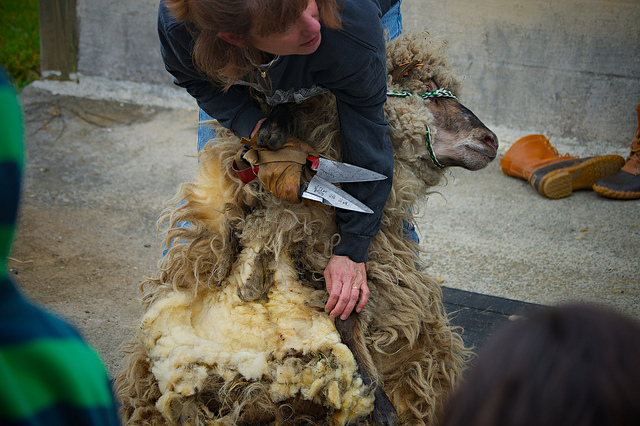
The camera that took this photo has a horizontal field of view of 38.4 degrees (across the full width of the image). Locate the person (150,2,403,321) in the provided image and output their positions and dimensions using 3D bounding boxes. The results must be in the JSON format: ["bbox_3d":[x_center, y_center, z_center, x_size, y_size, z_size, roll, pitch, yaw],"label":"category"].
[{"bbox_3d":[-0.140,-0.621,5.848,1.193,2.119,0.895,5,20,1],"label":"person"}]

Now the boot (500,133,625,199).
[{"bbox_3d":[1.739,-0.356,6.871,0.975,0.375,0.495,4,38,23],"label":"boot"}]

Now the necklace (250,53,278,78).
[{"bbox_3d":[-0.327,-0.883,5.385,0.120,0.158,0.025,1,-4,6],"label":"necklace"}]

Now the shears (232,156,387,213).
[{"bbox_3d":[-0.092,-0.220,5.668,0.979,0.194,0.341,16,71,16],"label":"shears"}]
